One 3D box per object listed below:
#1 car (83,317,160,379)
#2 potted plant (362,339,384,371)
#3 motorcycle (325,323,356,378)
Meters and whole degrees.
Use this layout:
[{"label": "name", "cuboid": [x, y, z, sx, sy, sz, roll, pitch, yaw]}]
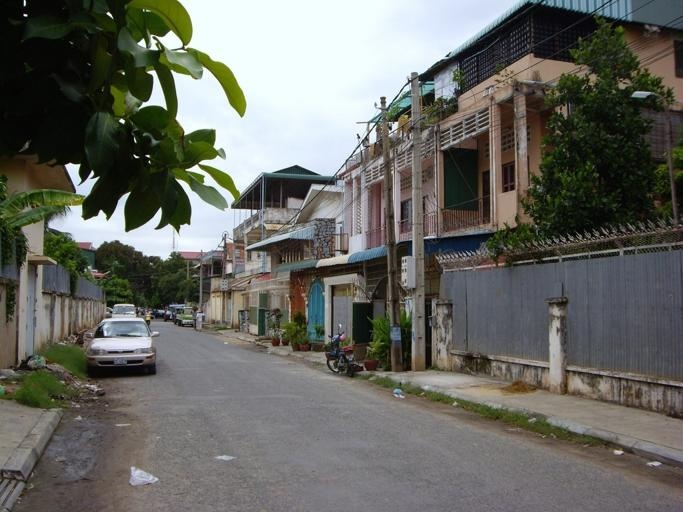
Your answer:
[{"label": "car", "cuboid": [-5.931, 2.364, 17.422, 1.105, 0.994, 2.520, 1, -13, -14]}, {"label": "potted plant", "cuboid": [0.951, 2.955, 18.968, 0.557, 0.883, 1.248, 1, -9, 3]}, {"label": "motorcycle", "cuboid": [0.075, 2.997, 18.797, 0.527, 1.110, 1.524, 0, -3, -12]}]
